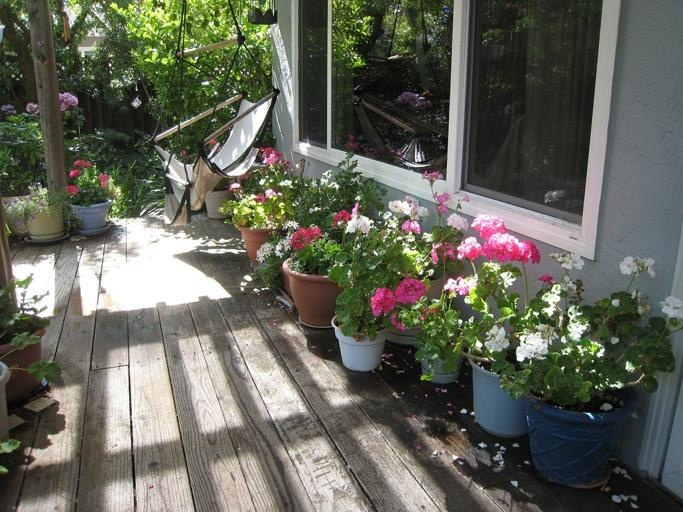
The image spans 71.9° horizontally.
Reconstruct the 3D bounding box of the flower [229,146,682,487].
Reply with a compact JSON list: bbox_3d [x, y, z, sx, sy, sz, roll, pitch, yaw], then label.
[{"bbox_3d":[0.328,-0.034,3.116,0.782,1.331,3.344,-7,22,-29],"label":"flower"}]

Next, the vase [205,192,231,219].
[{"bbox_3d":[-1.498,-0.635,5.663,0.345,0.328,0.211,0,22,6],"label":"vase"}]
